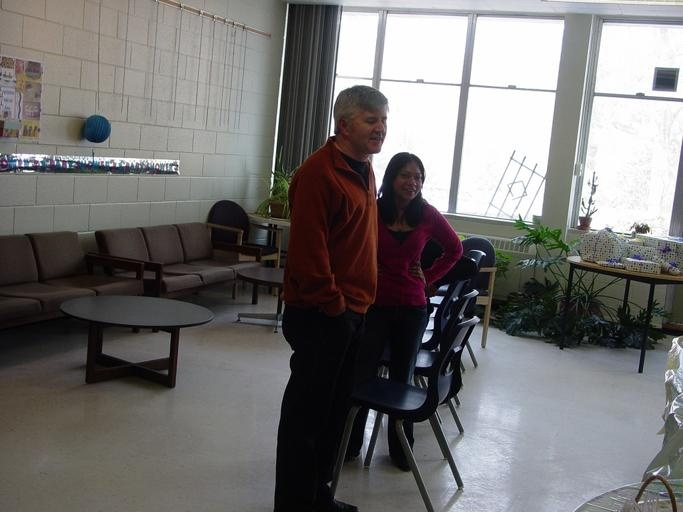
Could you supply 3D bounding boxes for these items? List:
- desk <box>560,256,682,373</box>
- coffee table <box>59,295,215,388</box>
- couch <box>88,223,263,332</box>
[{"bbox_3d":[2.957,0.420,5.581,1.210,0.931,1.263,5,7,20],"label":"desk"},{"bbox_3d":[-1.618,0.682,3.995,1.106,0.558,0.766,7,10,8],"label":"coffee table"},{"bbox_3d":[-1.824,0.415,5.663,0.794,0.828,1.528,5,7,26],"label":"couch"}]
